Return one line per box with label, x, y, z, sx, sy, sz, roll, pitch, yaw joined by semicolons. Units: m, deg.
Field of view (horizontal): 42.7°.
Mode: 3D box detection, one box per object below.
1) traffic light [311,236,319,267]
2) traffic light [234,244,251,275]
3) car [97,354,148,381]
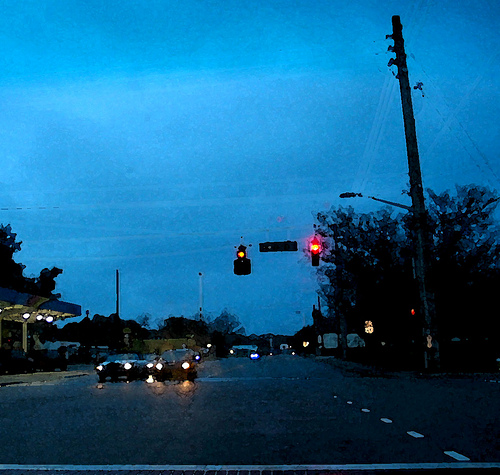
traffic light;2.585;0.533;25.205;0.329;1.317;0.574;-4;-16;6
traffic light;-0.277;0.871;24.891;0.586;1.090;0.625;0;-16;-7
car;-6.514;6.727;33.287;1.965;1.545;3.123;-5;-16;9
